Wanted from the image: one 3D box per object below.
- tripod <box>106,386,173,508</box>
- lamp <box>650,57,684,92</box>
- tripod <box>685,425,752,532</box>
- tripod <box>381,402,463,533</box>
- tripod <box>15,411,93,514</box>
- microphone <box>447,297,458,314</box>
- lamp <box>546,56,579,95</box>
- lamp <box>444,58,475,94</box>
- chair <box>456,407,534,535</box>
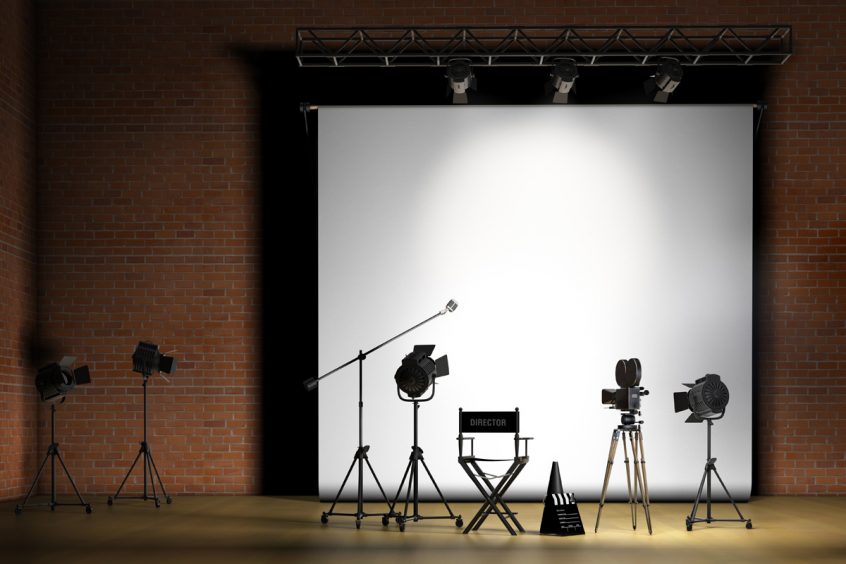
[{"bbox_3d":[-4.001,2.284,16.742,0.839,1.750,0.824,0,-5,-14],"label":"tripod"},{"bbox_3d":[3.447,-2.954,16.591,0.346,0.488,0.462,3,-16,-26],"label":"lamp"},{"bbox_3d":[3.970,2.565,15.822,0.823,1.414,1.774,-3,-6,15],"label":"tripod"},{"bbox_3d":[0.002,2.446,15.881,0.925,1.679,1.636,-1,-5,-2],"label":"tripod"},{"bbox_3d":[-5.175,2.478,16.553,0.985,1.436,1.409,0,-6,-19],"label":"tripod"},{"bbox_3d":[0.415,0.310,15.971,0.135,0.068,0.191,1,-21,-4],"label":"microphone"},{"bbox_3d":[2.016,-2.960,16.664,0.413,0.439,0.459,7,28,-2],"label":"lamp"},{"bbox_3d":[0.557,-2.937,16.634,0.385,0.479,0.358,-2,-5,2],"label":"lamp"},{"bbox_3d":[1.017,2.530,15.956,0.959,1.616,1.946,-2,-6,5],"label":"chair"}]
